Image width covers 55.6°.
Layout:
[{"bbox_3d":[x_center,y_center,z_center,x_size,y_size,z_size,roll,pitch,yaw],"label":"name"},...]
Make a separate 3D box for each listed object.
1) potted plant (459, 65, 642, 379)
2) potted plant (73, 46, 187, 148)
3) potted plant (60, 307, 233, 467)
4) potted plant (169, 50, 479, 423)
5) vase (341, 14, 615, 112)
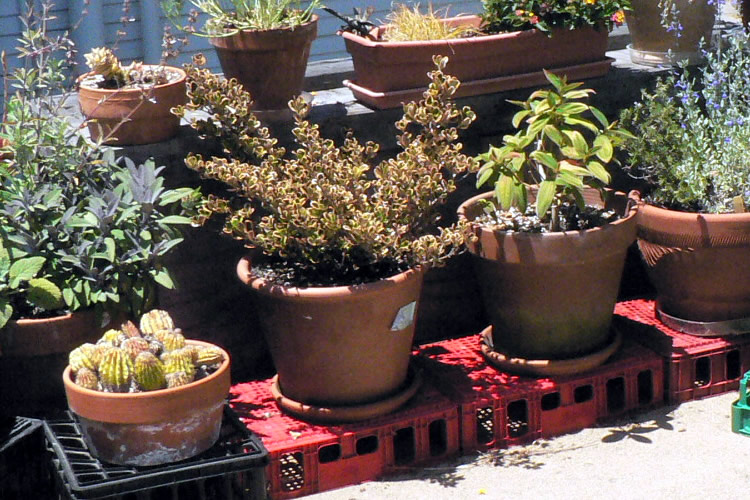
[{"bbox_3d":[0.729,-0.119,3.014,0.804,1.238,0.553,-16,17,-31],"label":"potted plant"},{"bbox_3d":[-0.955,-0.619,2.819,0.402,0.297,0.426,-10,24,-28],"label":"potted plant"},{"bbox_3d":[-0.793,0.517,2.471,0.462,0.351,0.462,-7,1,-16],"label":"potted plant"},{"bbox_3d":[-0.231,-0.052,2.828,1.350,1.543,0.760,-5,12,-15],"label":"potted plant"},{"bbox_3d":[0.493,-0.977,3.205,1.049,0.254,0.510,-9,31,-13],"label":"vase"}]
